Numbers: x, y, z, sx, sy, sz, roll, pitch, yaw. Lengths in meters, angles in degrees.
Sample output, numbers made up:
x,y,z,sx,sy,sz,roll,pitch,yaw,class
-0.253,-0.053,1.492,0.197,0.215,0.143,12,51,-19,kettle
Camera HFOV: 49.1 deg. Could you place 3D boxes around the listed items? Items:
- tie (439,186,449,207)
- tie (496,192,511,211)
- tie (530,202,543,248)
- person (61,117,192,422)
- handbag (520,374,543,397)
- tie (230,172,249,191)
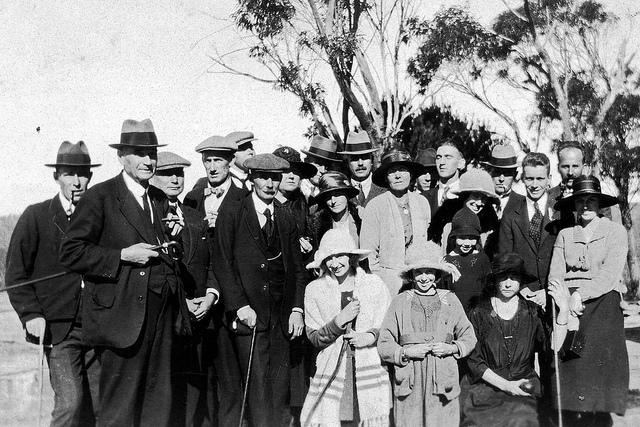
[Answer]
x,y,z,sx,sy,sz,roll,pitch,yaw,class
1.450,-0.202,8.201,0.047,0.198,0.145,31,27,26,tie
2.174,-0.138,8.412,0.193,0.227,0.088,-6,-4,-2,tie
2.434,0.120,7.860,0.142,0.504,0.101,6,-11,-41,tie
-1.862,0.537,6.774,1.205,2.941,0.634,1,-9,-18,person
2.155,1.752,7.163,0.134,0.162,0.133,-36,38,-22,handbag
-0.924,-0.382,8.387,0.182,0.217,0.081,11,17,38,tie
